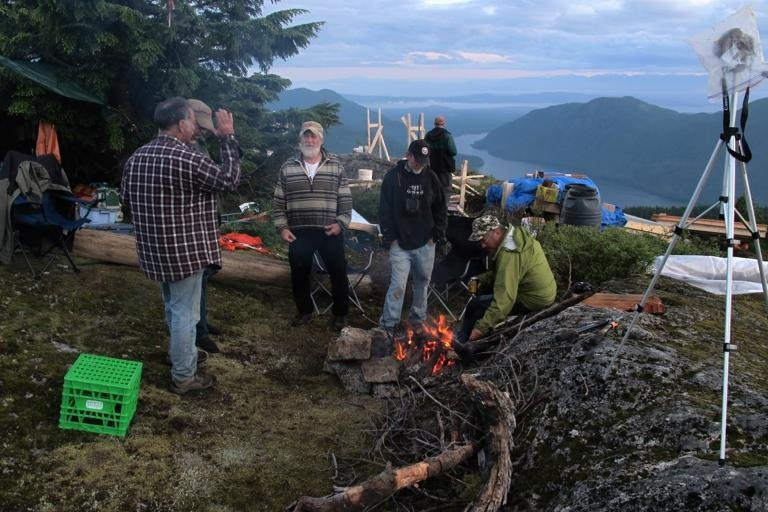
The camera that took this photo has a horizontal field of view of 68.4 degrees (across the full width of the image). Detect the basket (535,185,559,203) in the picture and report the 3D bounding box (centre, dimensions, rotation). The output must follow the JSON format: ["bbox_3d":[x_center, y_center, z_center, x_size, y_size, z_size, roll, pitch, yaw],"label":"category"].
[{"bbox_3d":[4.002,-1.482,13.808,0.504,0.324,0.388,10,5,25],"label":"basket"}]

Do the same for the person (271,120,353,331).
[{"bbox_3d":[-0.942,-0.365,7.547,1.063,2.748,0.388,3,9,-12],"label":"person"}]

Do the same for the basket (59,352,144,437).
[{"bbox_3d":[-2.768,1.348,5.822,0.791,0.670,0.782,10,0,-5],"label":"basket"}]

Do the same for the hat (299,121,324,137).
[{"bbox_3d":[-0.931,-1.666,7.508,0.237,0.163,0.336,0,-5,4],"label":"hat"}]

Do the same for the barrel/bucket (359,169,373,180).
[{"bbox_3d":[-0.665,-2.920,20.728,0.578,0.425,0.516,6,9,42],"label":"barrel/bucket"}]

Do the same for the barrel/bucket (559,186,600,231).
[{"bbox_3d":[4.308,-1.061,12.301,0.793,0.790,0.412,8,9,19],"label":"barrel/bucket"}]

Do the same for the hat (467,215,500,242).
[{"bbox_3d":[1.227,-0.310,6.806,0.321,0.319,0.345,6,9,7],"label":"hat"}]

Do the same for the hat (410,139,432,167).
[{"bbox_3d":[0.457,-1.310,7.327,0.230,0.190,0.326,-5,45,-32],"label":"hat"}]

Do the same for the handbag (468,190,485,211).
[{"bbox_3d":[2.683,-1.476,16.355,0.551,0.266,0.569,-6,42,-7],"label":"handbag"}]

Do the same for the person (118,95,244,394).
[{"bbox_3d":[-2.167,-0.089,6.064,1.126,3.126,0.483,1,10,-25],"label":"person"}]

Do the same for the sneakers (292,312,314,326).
[{"bbox_3d":[-1.119,0.886,7.836,0.120,0.137,0.329,3,3,28],"label":"sneakers"}]

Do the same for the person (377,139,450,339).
[{"bbox_3d":[0.379,-0.249,7.519,0.907,2.508,0.613,3,9,-8],"label":"person"}]
